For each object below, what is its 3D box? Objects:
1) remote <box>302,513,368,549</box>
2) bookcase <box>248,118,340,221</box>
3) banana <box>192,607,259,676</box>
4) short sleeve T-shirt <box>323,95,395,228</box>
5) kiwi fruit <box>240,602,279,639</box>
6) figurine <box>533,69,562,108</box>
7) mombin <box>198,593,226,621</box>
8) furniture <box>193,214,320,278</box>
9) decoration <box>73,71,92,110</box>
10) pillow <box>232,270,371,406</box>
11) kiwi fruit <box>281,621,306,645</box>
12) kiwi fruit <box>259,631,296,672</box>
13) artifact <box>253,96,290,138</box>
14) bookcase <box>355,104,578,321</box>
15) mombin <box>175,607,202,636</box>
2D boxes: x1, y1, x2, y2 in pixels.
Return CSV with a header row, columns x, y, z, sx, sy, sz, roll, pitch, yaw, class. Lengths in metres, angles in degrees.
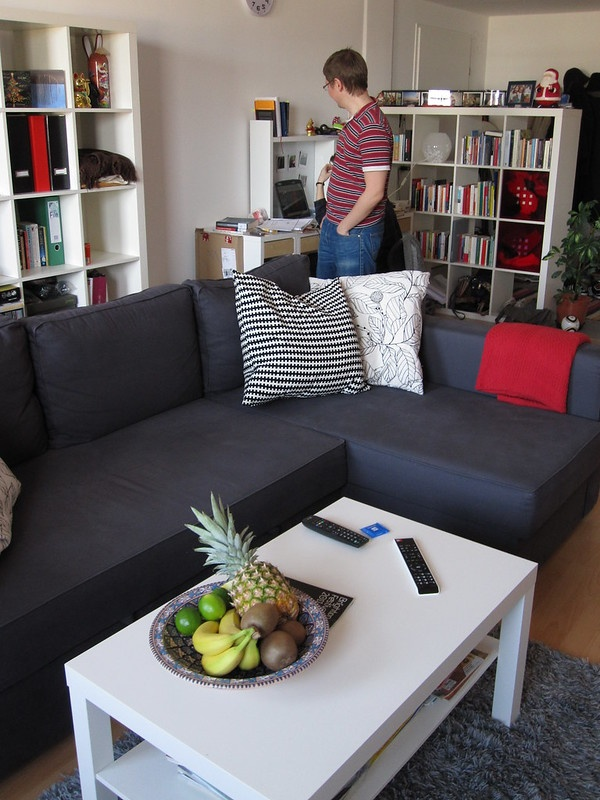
x,y,z,sx,sy,sz,roll,pitch,yaw,class
0.079,0.294,1.389,0.051,0.029,0.166,-21,30,-40,remote
-0.036,-1.788,4.765,0.247,0.777,0.804,15,27,31,bookcase
-0.101,0.365,0.925,0.091,0.037,0.088,-20,29,-21,banana
0.273,-1.174,3.103,0.153,0.551,0.430,-10,15,-36,short sleeve T-shirt
-0.055,0.319,0.904,0.040,0.039,0.055,45,48,16,kiwi fruit
1.840,-2.311,4.578,0.175,0.272,0.204,9,16,39,figurine
-0.140,0.331,0.987,0.036,0.035,0.046,-17,21,-29,mombin
-0.242,-1.056,4.600,0.515,0.544,0.949,20,28,24,furniture
-1.126,-1.603,3.208,0.089,0.208,0.190,-5,13,-17,decoration
0.001,-0.211,2.305,0.458,0.395,0.203,-11,22,-28,pillow
-0.011,0.356,0.944,0.029,0.034,0.029,-27,-6,-14,kiwi fruit
-0.033,0.355,0.901,0.051,0.055,0.062,3,-4,-17,kiwi fruit
-0.182,-2.044,4.492,0.279,0.266,0.221,-5,13,-19,artifact
1.244,-1.342,4.416,0.545,1.636,1.780,-20,30,-37,bookcase
-0.176,0.347,0.978,0.047,0.037,0.037,-22,-13,39,mombin
